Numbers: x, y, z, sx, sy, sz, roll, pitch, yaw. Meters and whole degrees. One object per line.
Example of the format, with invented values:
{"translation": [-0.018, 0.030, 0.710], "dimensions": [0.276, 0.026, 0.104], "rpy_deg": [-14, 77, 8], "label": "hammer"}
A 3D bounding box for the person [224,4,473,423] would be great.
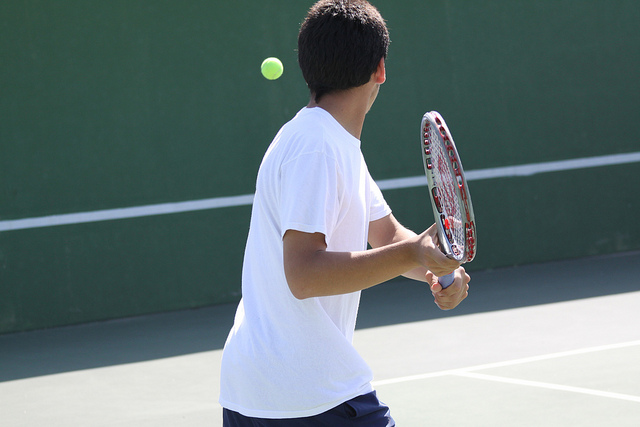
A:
{"translation": [0.005, 0.027, 4.717], "dimensions": [1.373, 2.396, 0.737], "rpy_deg": [-8, -14, -9], "label": "person"}

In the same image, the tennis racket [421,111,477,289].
{"translation": [0.774, -0.146, 4.780], "dimensions": [0.233, 0.965, 0.473], "rpy_deg": [-12, -15, 9], "label": "tennis racket"}

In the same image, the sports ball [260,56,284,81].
{"translation": [-0.510, -1.489, 8.250], "dimensions": [0.212, 0.249, 0.231], "rpy_deg": [-1, -9, 0], "label": "sports ball"}
